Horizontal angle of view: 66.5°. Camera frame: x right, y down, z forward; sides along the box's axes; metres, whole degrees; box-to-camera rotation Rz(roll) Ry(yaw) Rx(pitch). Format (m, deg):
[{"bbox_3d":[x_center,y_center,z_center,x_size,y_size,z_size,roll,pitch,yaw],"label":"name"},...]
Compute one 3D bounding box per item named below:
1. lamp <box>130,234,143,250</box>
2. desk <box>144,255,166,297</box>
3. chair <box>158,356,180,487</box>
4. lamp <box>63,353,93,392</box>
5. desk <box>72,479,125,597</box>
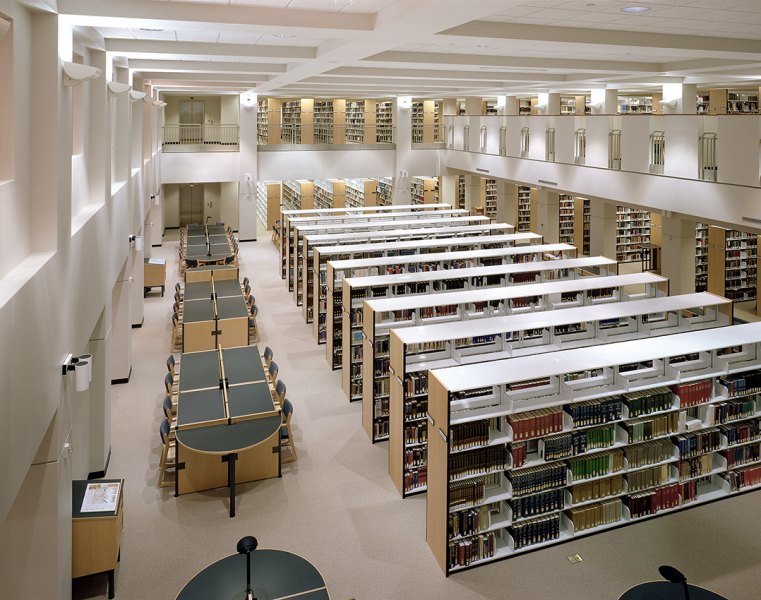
[{"bbox_3d":[-4.580,-1.078,10.872,0.093,0.197,0.332,-5,18,-14],"label":"lamp"},{"bbox_3d":[-6.336,-0.579,16.364,0.504,0.747,0.958,-1,3,-26],"label":"desk"},{"bbox_3d":[-3.185,1.883,8.742,0.308,1.582,0.531,1,-37,-11],"label":"chair"},{"bbox_3d":[-2.889,0.692,5.527,0.253,0.340,0.496,-5,7,-31],"label":"lamp"},{"bbox_3d":[-3.003,2.573,6.158,0.496,0.793,0.989,-2,9,-15],"label":"desk"}]
